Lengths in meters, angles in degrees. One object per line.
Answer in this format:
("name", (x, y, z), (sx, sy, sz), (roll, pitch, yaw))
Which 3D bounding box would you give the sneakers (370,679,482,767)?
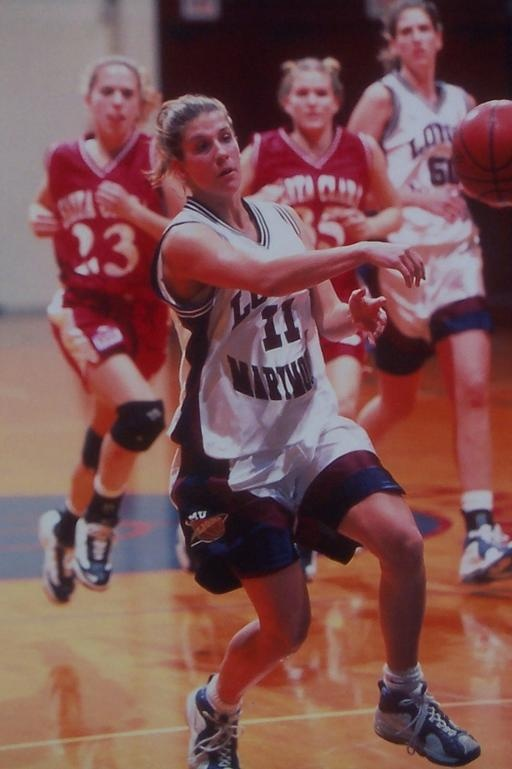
("sneakers", (0.263, 0.533, 1.222), (0.063, 0.118, 0.172), (-5, 6, -36))

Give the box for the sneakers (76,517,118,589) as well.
("sneakers", (-0.461, 0.467, 2.166), (0.079, 0.084, 0.214), (7, 31, -25))

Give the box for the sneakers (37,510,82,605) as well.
("sneakers", (-0.555, 0.484, 2.181), (0.093, 0.104, 0.260), (3, 41, -23))

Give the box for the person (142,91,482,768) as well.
("person", (0.086, 0.078, 1.256), (0.480, 1.119, 0.404), (-1, 5, -7))
